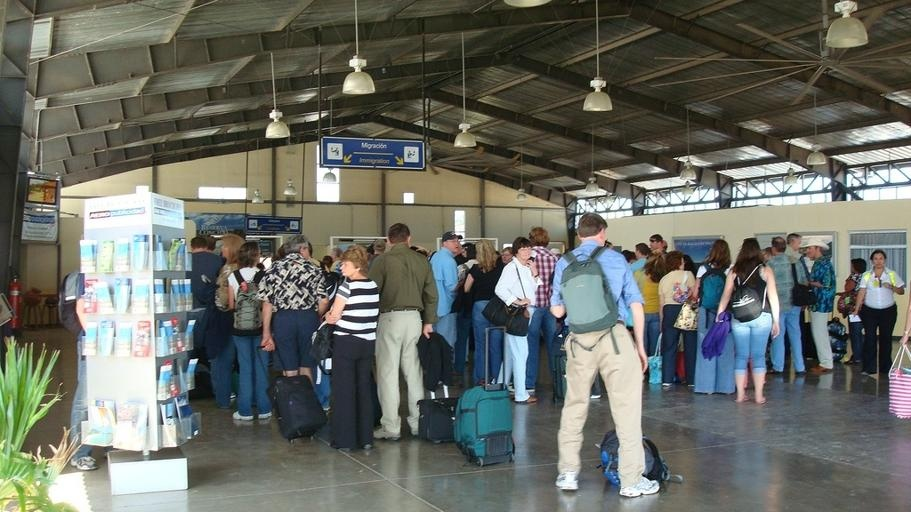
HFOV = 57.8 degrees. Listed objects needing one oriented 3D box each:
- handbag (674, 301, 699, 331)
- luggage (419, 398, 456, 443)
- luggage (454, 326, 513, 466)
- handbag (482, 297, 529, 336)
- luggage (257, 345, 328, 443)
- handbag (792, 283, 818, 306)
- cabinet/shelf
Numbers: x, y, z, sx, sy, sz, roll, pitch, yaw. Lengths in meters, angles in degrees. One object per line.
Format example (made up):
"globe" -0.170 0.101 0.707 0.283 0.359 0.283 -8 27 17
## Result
"handbag" 4.130 1.048 14.717 0.544 0.498 0.155 4 -3 10
"luggage" -0.290 2.528 12.887 0.670 0.597 0.757 2 -1 -22
"luggage" 0.371 2.302 12.208 0.580 1.426 0.481 2 -1 -23
"handbag" 0.866 1.000 13.855 0.606 0.553 0.280 32 28 33
"luggage" -2.438 2.127 12.696 0.588 1.315 0.504 0 0 -17
"handbag" 6.702 0.747 15.919 0.495 0.426 0.176 2 3 -25
"cabinet/shelf" -4.400 1.243 12.007 1.276 3.851 2.054 0 -1 16
